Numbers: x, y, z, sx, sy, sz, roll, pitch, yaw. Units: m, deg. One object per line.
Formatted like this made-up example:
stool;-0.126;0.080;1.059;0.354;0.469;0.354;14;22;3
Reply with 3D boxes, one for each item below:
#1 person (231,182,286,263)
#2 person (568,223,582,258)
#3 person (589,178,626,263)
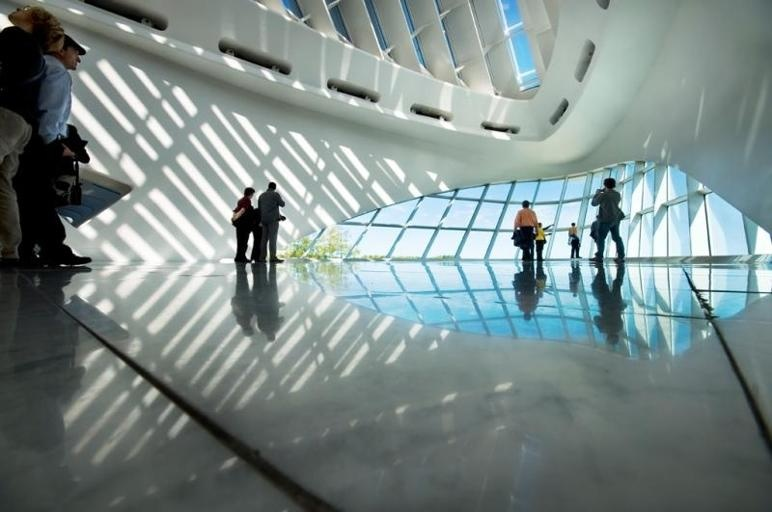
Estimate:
person;-2.265;-0.556;7.674;0.864;1.497;1.652;-1;5;-20
person;5.611;-0.375;13.013;0.301;1.041;1.644;2;5;23
person;4.225;-0.658;8.305;0.582;1.653;1.928;2;5;28
